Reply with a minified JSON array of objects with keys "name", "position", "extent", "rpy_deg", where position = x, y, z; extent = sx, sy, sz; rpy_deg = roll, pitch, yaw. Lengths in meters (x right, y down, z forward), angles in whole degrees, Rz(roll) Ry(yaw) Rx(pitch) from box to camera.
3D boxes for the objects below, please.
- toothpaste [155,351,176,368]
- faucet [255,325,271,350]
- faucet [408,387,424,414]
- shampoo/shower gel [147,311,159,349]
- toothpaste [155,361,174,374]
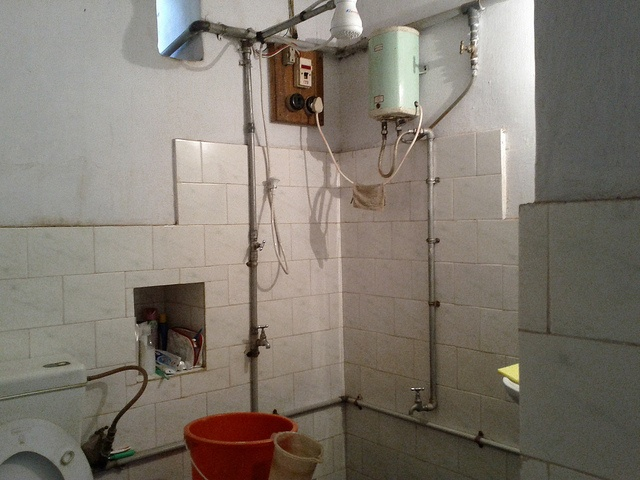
[{"name":"toothpaste","position":[-0.869,0.667,3.355],"extent":[0.111,0.035,0.068],"rpy_deg":[19,1,43]},{"name":"faucet","position":[-0.326,0.572,3.479],"extent":[0.075,0.156,0.167],"rpy_deg":[-2,9,-5]},{"name":"faucet","position":[0.555,0.909,3.393],"extent":[0.079,0.200,0.212],"rpy_deg":[1,9,10]},{"name":"shampoo/shower gel","position":[-0.972,0.525,3.497],"extent":[0.039,0.249,0.106],"rpy_deg":[0,9,8]},{"name":"toothpaste","position":[-0.850,0.702,3.263],"extent":[0.043,0.044,0.153],"rpy_deg":[29,-10,-30]}]
